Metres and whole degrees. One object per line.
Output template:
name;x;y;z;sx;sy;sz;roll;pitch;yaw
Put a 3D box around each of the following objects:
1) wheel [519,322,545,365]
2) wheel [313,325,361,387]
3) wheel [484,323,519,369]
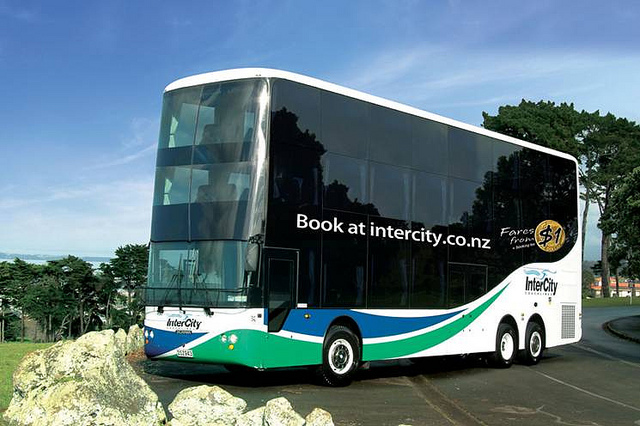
wheel;8.450;5.222;19.964;0.541;1.538;1.440;-6;-18;41
wheel;0.503;4.039;13.971;1.281;1.743;0.337;8;-7;-35
wheel;6.975;5.104;19.084;1.492;1.609;0.554;10;-11;-38
